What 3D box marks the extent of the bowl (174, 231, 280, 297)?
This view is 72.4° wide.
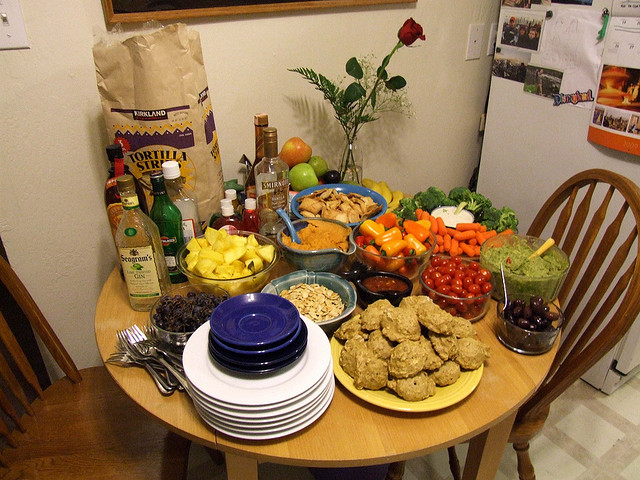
[{"bbox_3d":[-0.274,0.060,1.300,0.214,0.089,0.225,3,42,-3],"label":"bowl"}]

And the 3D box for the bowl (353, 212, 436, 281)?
[{"bbox_3d":[0.246,0.021,1.463,0.267,0.143,0.283,1,39,-1],"label":"bowl"}]

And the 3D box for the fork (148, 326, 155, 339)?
[{"bbox_3d":[-0.476,0.263,1.246,0.011,0.010,0.046,0,43,-24],"label":"fork"}]

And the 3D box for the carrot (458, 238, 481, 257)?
[{"bbox_3d":[0.512,0.032,1.506,0.057,0.018,0.063,2,44,11],"label":"carrot"}]

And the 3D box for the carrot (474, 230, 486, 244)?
[{"bbox_3d":[0.551,-0.004,1.513,0.020,0.015,0.046,-26,77,10],"label":"carrot"}]

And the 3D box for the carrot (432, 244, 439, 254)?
[{"bbox_3d":[0.383,0.033,1.463,0.022,0.021,0.022,-37,9,-24],"label":"carrot"}]

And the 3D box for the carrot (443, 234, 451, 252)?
[{"bbox_3d":[0.436,0.012,1.504,0.020,0.023,0.052,-6,48,27],"label":"carrot"}]

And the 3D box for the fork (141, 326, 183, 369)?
[{"bbox_3d":[-0.422,0.293,1.174,0.020,0.018,0.153,-25,51,-26],"label":"fork"}]

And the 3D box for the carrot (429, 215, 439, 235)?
[{"bbox_3d":[0.402,-0.048,1.542,0.026,0.018,0.059,5,66,-8],"label":"carrot"}]

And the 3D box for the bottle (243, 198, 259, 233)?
[{"bbox_3d":[-0.243,-0.088,1.517,0.054,0.122,0.088,-7,29,-8],"label":"bottle"}]

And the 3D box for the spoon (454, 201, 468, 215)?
[{"bbox_3d":[0.524,-0.119,1.632,0.021,0.020,0.090,25,40,28],"label":"spoon"}]

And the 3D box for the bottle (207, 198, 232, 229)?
[{"bbox_3d":[-0.340,-0.084,1.476,0.073,0.153,0.075,3,28,-2],"label":"bottle"}]

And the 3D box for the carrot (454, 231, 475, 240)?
[{"bbox_3d":[0.498,-0.011,1.513,0.059,0.031,0.022,-2,67,-5],"label":"carrot"}]

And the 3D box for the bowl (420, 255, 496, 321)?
[{"bbox_3d":[0.408,0.133,1.318,0.204,0.110,0.235,7,27,9],"label":"bowl"}]

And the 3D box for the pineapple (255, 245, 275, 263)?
[{"bbox_3d":[-0.163,0.047,1.317,0.061,0.042,0.043,-14,31,-18],"label":"pineapple"}]

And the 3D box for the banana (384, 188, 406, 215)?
[{"bbox_3d":[0.282,-0.131,1.670,0.057,0.046,0.189,17,30,4],"label":"banana"}]

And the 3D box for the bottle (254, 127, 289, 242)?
[{"bbox_3d":[-0.172,-0.193,1.557,0.148,0.425,0.162,2,39,-2],"label":"bottle"}]

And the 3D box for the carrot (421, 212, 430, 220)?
[{"bbox_3d":[0.377,-0.083,1.580,0.022,0.024,0.023,1,-1,5],"label":"carrot"}]

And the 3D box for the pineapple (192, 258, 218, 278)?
[{"bbox_3d":[-0.337,0.083,1.265,0.072,0.039,0.042,-4,29,-2],"label":"pineapple"}]

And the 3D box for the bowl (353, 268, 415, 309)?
[{"bbox_3d":[0.181,0.158,1.317,0.177,0.089,0.163,4,12,-1],"label":"bowl"}]

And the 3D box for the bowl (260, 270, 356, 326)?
[{"bbox_3d":[-0.041,0.165,1.241,0.231,0.092,0.249,-4,9,1],"label":"bowl"}]

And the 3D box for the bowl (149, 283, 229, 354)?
[{"bbox_3d":[-0.365,0.246,1.288,0.186,0.109,0.191,-3,52,4],"label":"bowl"}]

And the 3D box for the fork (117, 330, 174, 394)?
[{"bbox_3d":[-0.480,0.284,1.225,0.037,0.046,0.328,-24,55,-33],"label":"fork"}]

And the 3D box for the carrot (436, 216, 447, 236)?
[{"bbox_3d":[0.423,-0.042,1.534,0.025,0.021,0.060,2,54,-18],"label":"carrot"}]

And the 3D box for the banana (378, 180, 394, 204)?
[{"bbox_3d":[0.266,-0.180,1.790,0.034,0.046,0.138,20,34,-15],"label":"banana"}]

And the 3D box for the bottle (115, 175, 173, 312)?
[{"bbox_3d":[-0.517,0.021,1.257,0.129,0.414,0.083,-17,31,-26],"label":"bottle"}]

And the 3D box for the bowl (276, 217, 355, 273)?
[{"bbox_3d":[0.005,0.040,1.416,0.207,0.115,0.246,-17,30,-15],"label":"bowl"}]

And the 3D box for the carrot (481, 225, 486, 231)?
[{"bbox_3d":[0.575,-0.040,1.541,0.015,0.014,0.016,-16,34,-10],"label":"carrot"}]

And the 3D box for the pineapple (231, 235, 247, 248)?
[{"bbox_3d":[-0.245,0.004,1.330,0.047,0.029,0.042,-10,30,-13],"label":"pineapple"}]

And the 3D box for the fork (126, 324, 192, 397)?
[{"bbox_3d":[-0.418,0.323,1.146,0.035,0.032,0.257,-31,64,-33],"label":"fork"}]

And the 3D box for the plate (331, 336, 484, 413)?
[{"bbox_3d":[0.207,0.351,1.106,0.397,0.059,0.166,5,31,13],"label":"plate"}]

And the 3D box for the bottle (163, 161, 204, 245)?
[{"bbox_3d":[-0.450,-0.109,1.408,0.106,0.334,0.087,-4,46,-7],"label":"bottle"}]

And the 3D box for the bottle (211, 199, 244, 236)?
[{"bbox_3d":[-0.314,-0.074,1.436,0.092,0.111,0.066,-6,28,-7],"label":"bottle"}]

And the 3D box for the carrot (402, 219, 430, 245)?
[{"bbox_3d":[0.312,-0.028,1.450,0.048,0.039,0.097,-38,63,-14],"label":"carrot"}]
